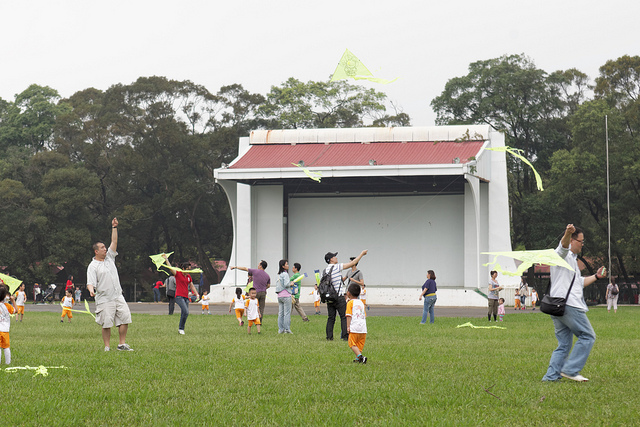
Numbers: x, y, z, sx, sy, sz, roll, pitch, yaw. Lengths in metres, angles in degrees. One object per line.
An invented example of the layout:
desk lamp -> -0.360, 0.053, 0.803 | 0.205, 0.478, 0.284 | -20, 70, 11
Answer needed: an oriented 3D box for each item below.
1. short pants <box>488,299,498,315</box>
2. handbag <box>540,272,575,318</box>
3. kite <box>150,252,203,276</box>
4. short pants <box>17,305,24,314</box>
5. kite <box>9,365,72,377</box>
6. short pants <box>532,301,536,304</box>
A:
short pants -> 8.108, 4.558, 46.365 | 0.373, 0.683, 0.728 | 2, 7, 16
handbag -> 8.435, 2.905, 34.962 | 0.772, 1.945, 1.011 | 29, -17, -36
kite -> -8.824, 3.242, 60.367 | 2.906, 0.821, 2.950 | 3, 6, -3
short pants -> -14.346, 4.769, 46.920 | 0.399, 0.410, 0.223 | 4, 9, 34
kite -> -10.141, 5.737, 35.259 | 2.399, 0.690, 0.682 | 1, -12, -11
short pants -> 12.623, 5.437, 58.185 | 0.285, 0.230, 0.296 | 0, -7, -9
